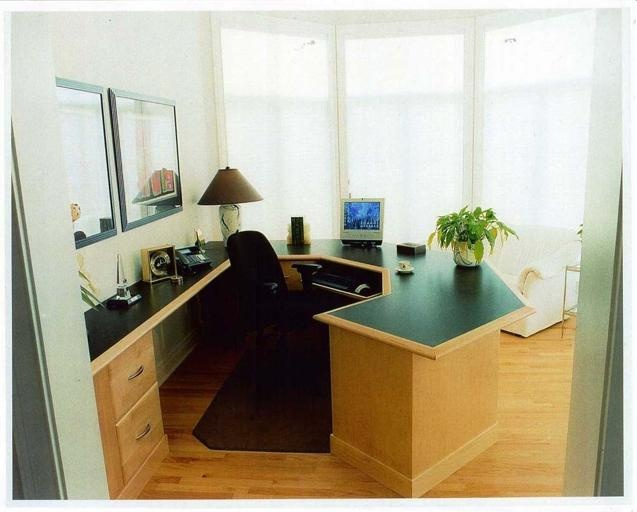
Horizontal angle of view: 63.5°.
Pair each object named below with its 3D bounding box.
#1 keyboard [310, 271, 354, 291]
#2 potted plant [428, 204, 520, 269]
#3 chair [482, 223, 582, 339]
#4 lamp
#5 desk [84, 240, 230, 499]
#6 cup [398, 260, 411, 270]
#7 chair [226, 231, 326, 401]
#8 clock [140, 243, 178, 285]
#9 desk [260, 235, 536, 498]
[{"bbox_3d":[0.095,0.166,3.362,0.216,0.056,0.119,11,26,25],"label":"keyboard"},{"bbox_3d":[0.929,-0.105,3.260,0.392,0.303,0.376,14,15,39],"label":"potted plant"},{"bbox_3d":[1.645,0.149,4.395,0.774,0.833,0.764,15,16,42],"label":"chair"},{"bbox_3d":[-0.642,-0.410,4.047,0.513,0.646,0.532,7,15,35],"label":"lamp"},{"bbox_3d":[-0.958,0.582,3.090,0.541,0.683,1.798,-7,14,7],"label":"desk"},{"bbox_3d":[0.539,0.054,3.207,0.057,0.029,0.049,2,11,-3],"label":"cup"},{"bbox_3d":[-0.229,0.309,3.404,0.633,1.031,0.654,-15,15,-43],"label":"chair"},{"bbox_3d":[-0.969,0.044,3.130,0.080,0.201,0.198,8,15,35],"label":"clock"},{"bbox_3d":[0.642,0.558,3.008,1.025,0.867,1.662,2,18,0],"label":"desk"}]
